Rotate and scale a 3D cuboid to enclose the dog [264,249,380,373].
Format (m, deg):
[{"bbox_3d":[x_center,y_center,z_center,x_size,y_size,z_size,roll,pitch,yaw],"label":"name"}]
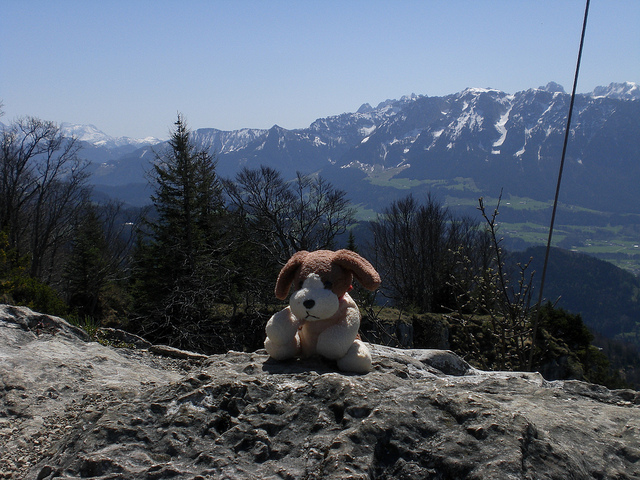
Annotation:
[{"bbox_3d":[0.060,0.864,6.791,1.666,1.738,1.222,-1,-22,8],"label":"dog"}]
